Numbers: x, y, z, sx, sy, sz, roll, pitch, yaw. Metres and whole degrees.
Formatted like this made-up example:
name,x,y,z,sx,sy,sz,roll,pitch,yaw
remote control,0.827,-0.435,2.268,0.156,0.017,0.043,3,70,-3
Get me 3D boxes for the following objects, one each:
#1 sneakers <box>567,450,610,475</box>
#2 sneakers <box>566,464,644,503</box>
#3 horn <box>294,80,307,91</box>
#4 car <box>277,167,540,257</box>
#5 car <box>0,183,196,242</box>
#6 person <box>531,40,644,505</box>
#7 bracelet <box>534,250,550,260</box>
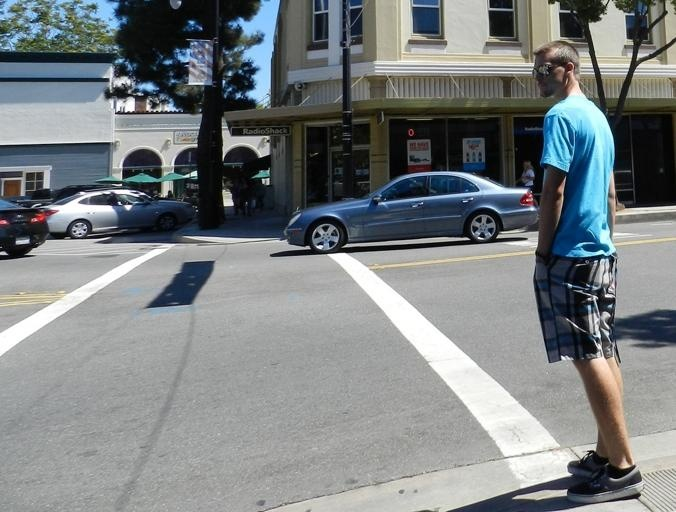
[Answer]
name,x,y,z,sx,sy,sz,roll,pitch,yaw
sneakers,1.292,1.077,2.870,0.077,0.103,0.216,-8,-13,-31
sneakers,1.336,1.131,2.786,0.388,0.190,0.158,-8,-11,-1
horn,-1.526,-6.684,21.743,0.427,0.334,0.689,-6,8,-22
car,1.530,-0.930,13.129,5.062,1.841,2.269,0,-1,-3
car,-8.558,-1.693,21.338,4.591,1.588,2.001,-7,6,-34
person,1.300,-0.004,2.874,0.518,2.328,0.693,0,6,20
bracelet,1.070,-0.005,2.910,0.048,0.040,0.066,2,-7,-1
